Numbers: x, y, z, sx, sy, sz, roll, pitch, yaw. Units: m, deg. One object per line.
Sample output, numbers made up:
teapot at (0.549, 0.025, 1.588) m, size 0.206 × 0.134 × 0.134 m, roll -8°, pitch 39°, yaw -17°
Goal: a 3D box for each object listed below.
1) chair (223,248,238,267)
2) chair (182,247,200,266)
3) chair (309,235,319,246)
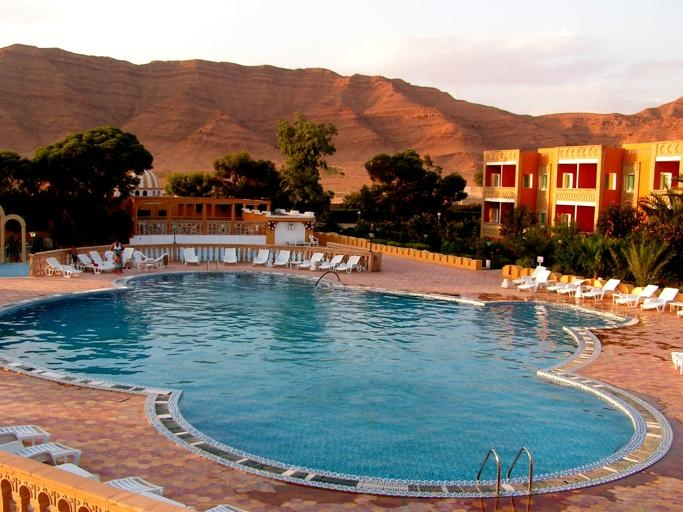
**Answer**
chair at (-6.202, 0.074, 33.206) m, size 0.774 × 0.721 × 1.026 m, roll 0°, pitch 5°, yaw -10°
chair at (-8.419, 0.051, 32.978) m, size 0.747 × 0.585 × 1.249 m, roll 3°, pitch 20°, yaw -28°
chair at (-2.035, -1.048, 42.458) m, size 0.807 × 0.917 × 0.792 m, roll -4°, pitch 4°, yaw -45°
